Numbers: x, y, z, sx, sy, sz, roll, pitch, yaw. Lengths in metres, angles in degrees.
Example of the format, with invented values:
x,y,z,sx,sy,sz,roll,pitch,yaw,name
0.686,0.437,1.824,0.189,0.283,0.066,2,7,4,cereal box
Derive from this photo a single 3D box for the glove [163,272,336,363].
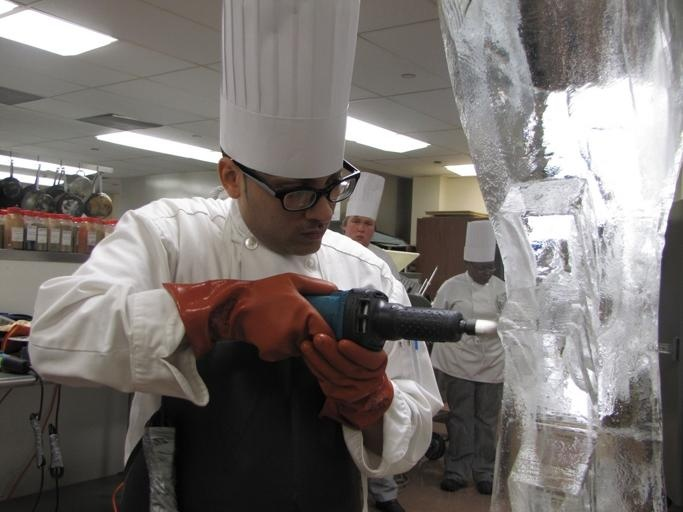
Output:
x,y,z,sx,sy,sz,roll,pitch,yaw,name
-0.142,0.085,0.865,0.221,0.105,0.133,-9,25,-8,glove

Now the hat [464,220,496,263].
x,y,z,sx,sy,sz,roll,pitch,yaw,name
1.013,-0.107,3.931,0.209,0.311,0.289,1,0,15,hat

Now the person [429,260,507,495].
x,y,z,sx,sy,sz,roll,pitch,yaw,name
0.875,0.731,3.582,0.487,1.700,0.424,-1,-8,25,person

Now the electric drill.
x,y,z,sx,sy,sz,roll,pitch,yaw,name
0.064,0.098,0.786,0.292,0.115,0.069,4,13,20,electric drill
